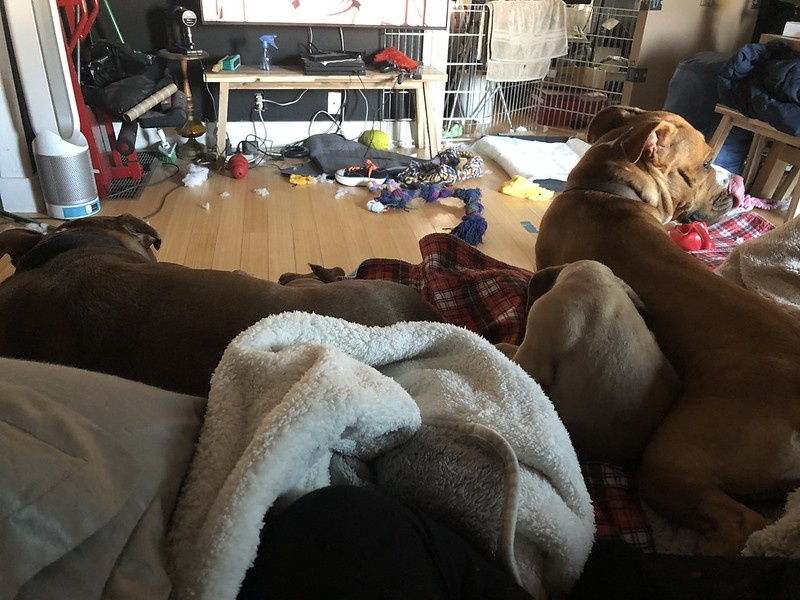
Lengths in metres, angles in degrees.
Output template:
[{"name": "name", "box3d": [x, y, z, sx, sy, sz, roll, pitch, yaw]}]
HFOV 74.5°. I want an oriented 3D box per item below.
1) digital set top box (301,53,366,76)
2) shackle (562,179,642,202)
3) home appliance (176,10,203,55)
[{"name": "digital set top box", "box3d": [-0.499, -1.771, 3.936, 0.458, 0.138, 0.262, -2, 31, -8]}, {"name": "shackle", "box3d": [0.674, -0.364, 1.712, 0.133, 0.031, 0.099, 5, 2, -4]}, {"name": "home appliance", "box3d": [-1.517, -1.945, 3.779, 0.148, 0.270, 0.554, -9, 32, -18]}]
